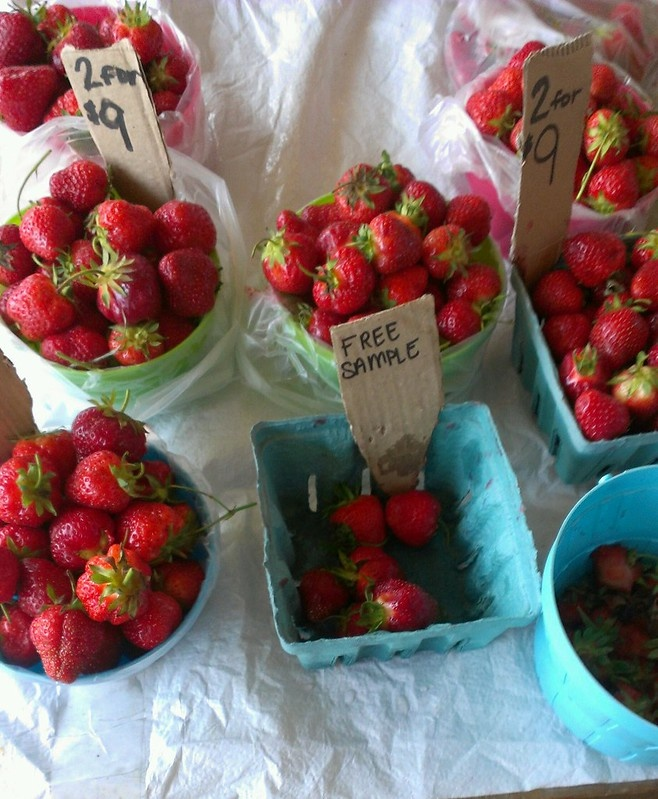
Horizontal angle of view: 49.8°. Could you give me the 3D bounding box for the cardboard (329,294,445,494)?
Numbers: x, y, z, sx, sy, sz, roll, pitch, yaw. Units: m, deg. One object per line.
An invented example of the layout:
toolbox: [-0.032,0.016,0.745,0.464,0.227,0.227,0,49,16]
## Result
cardboard: [0.069,-0.015,0.747,0.116,0.194,0.072,-19,58,1]
